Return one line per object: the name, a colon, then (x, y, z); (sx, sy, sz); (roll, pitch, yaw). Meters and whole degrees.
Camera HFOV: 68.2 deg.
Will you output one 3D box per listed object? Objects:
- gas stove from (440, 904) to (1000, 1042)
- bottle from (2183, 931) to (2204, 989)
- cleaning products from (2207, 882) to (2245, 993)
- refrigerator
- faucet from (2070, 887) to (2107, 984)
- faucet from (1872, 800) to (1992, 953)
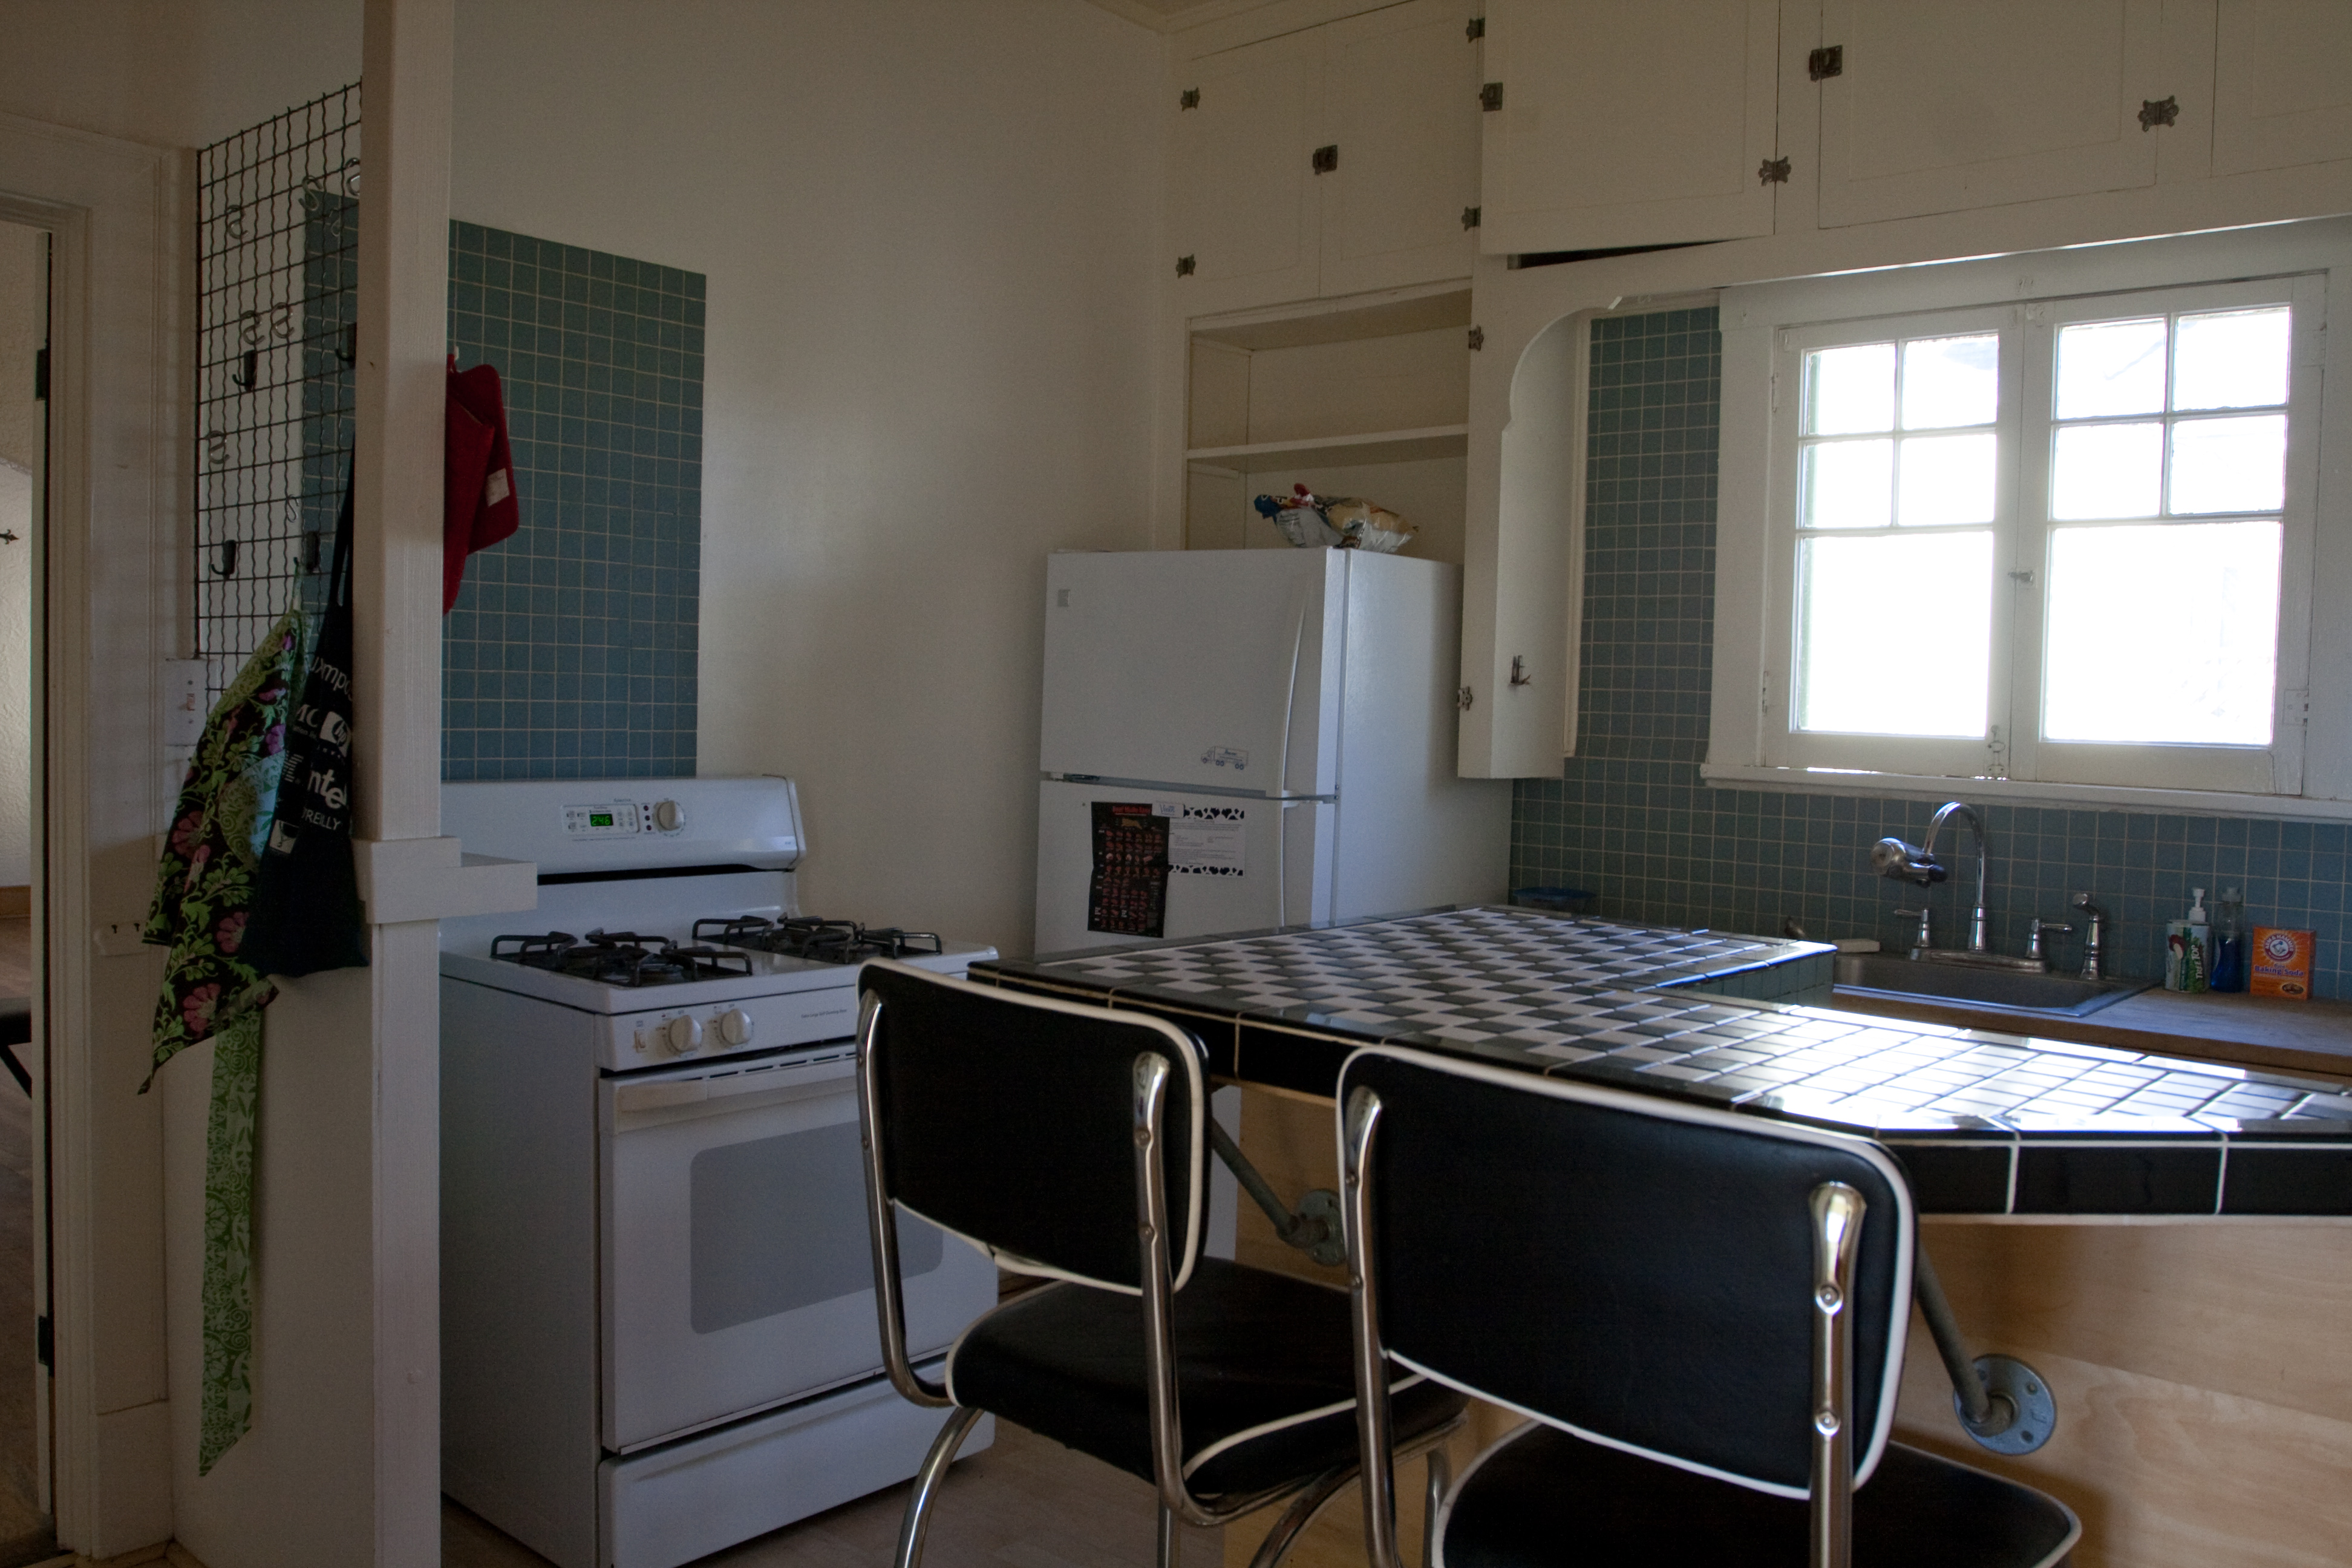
gas stove: (-1.094, 0.379, 3.644); (0.699, 0.109, 0.640); (-1, -1, 37)
bottle: (2.293, 0.384, 3.898); (0.055, 0.150, 0.055); (1, 2, 0)
cleaning products: (2.371, 0.343, 3.893); (0.068, 0.233, 0.062); (2, 2, 30)
refrigerator: (0.247, -0.081, 4.605); (1.219, 1.071, 0.525); (1, 2, -4)
faucet: (2.138, 0.349, 4.023); (0.066, 0.194, 0.087); (1, 2, 4)
faucet: (1.809, 0.220, 4.158); (0.250, 0.365, 0.234); (2, 2, 32)
